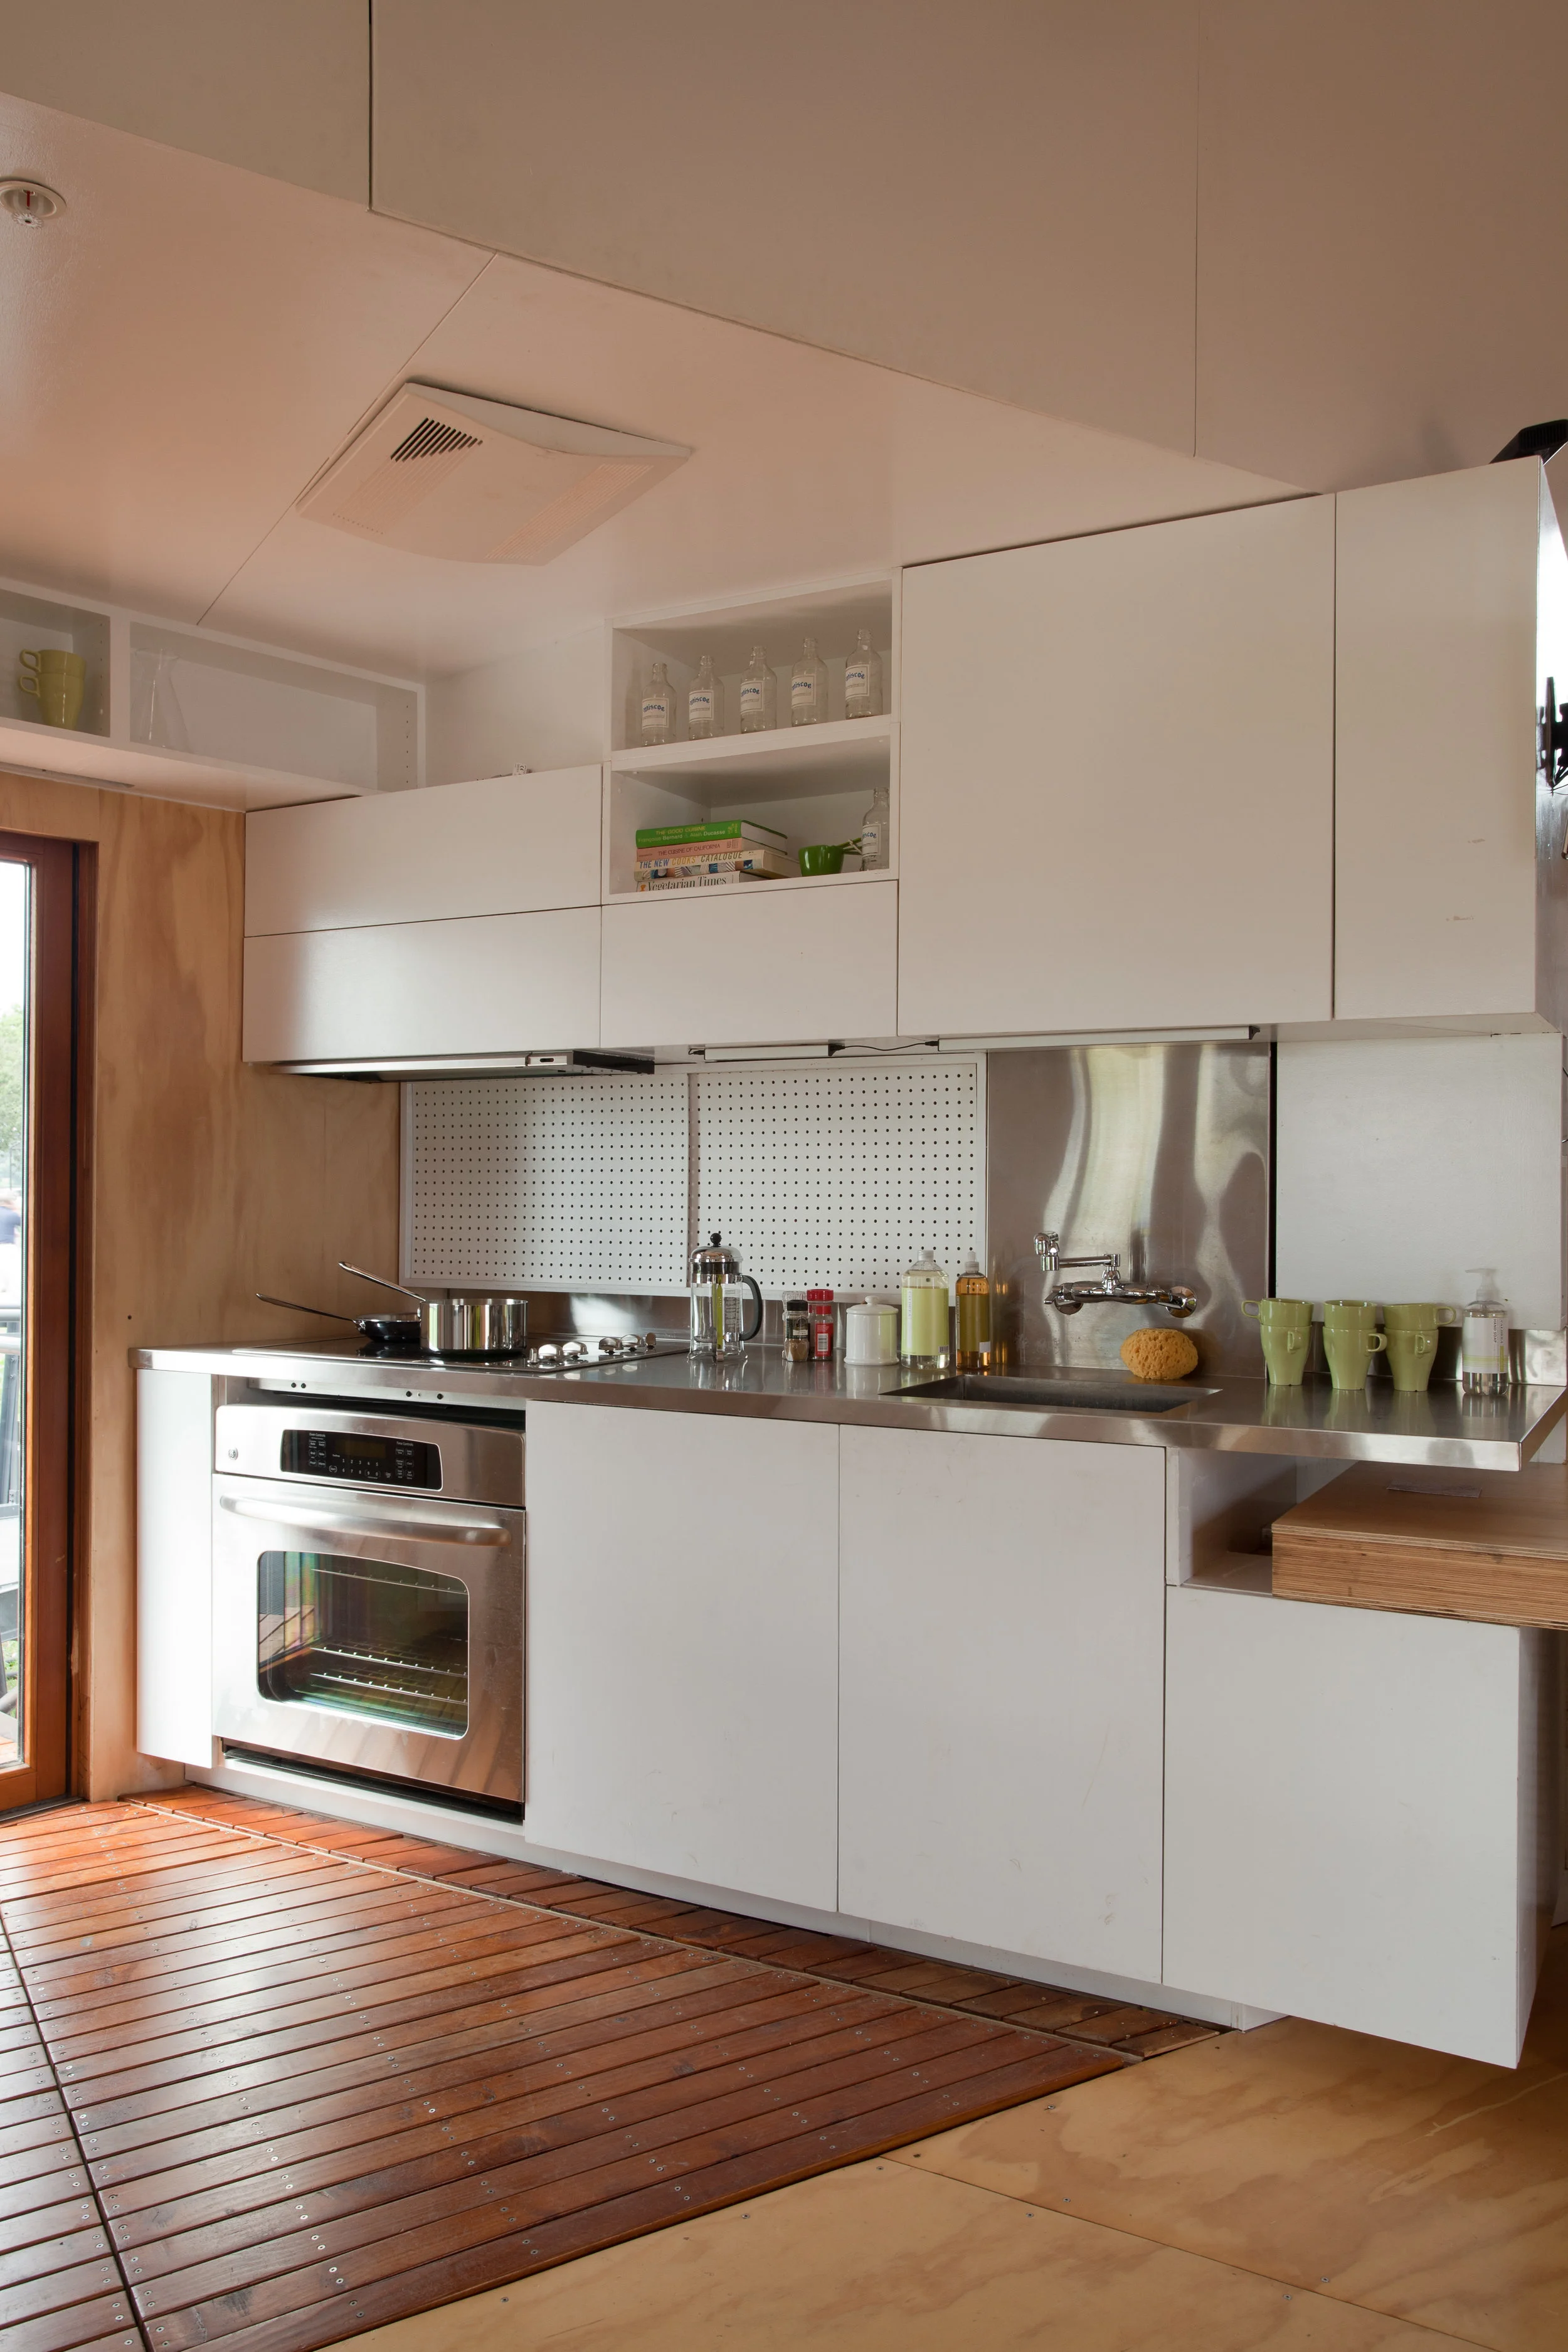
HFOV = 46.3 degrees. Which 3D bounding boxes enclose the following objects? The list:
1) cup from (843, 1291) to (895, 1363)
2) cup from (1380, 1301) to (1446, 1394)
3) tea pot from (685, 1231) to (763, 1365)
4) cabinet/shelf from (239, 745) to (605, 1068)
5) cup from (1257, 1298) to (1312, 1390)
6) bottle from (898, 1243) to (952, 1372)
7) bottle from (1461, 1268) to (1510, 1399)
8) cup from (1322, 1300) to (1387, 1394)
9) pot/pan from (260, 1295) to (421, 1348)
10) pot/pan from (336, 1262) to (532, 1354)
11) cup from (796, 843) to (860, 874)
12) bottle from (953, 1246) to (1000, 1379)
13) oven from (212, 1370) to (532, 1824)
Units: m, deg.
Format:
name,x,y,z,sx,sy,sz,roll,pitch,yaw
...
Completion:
name,x,y,z,sx,sy,sz,roll,pitch,yaw
cup,0.155,0.278,3.290,0.097,0.098,0.096,0,-2,0
cup,0.941,0.254,2.738,0.074,0.130,0.088,-1,-2,10
tea pot,-0.108,0.220,3.505,0.140,0.228,0.258,0,-2,-3
cabinet/shelf,-0.694,-0.511,3.568,0.686,0.413,0.219,-1,-3,35
cup,0.779,0.257,2.842,0.070,0.130,0.077,-1,-2,0
bottle,0.254,0.237,3.294,0.091,0.198,0.223,-1,-2,6
bottle,1.054,0.231,2.754,0.074,0.174,0.167,-1,-2,22
cup,0.844,0.255,2.724,0.125,0.152,0.093,1,1,26
pot/pan,-0.881,0.310,3.693,0.266,0.037,0.159,10,4,18
pot/pan,-0.704,0.261,3.641,0.389,0.172,0.189,-1,-1,33
cup,0.081,-0.556,3.217,0.103,0.071,0.090,-3,3,-11
bottle,0.335,0.256,3.215,0.071,0.163,0.134,-1,-2,6
oven,-0.679,0.751,3.382,0.672,0.634,0.459,3,-2,15
